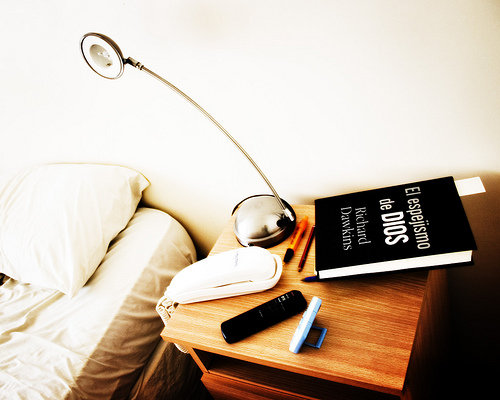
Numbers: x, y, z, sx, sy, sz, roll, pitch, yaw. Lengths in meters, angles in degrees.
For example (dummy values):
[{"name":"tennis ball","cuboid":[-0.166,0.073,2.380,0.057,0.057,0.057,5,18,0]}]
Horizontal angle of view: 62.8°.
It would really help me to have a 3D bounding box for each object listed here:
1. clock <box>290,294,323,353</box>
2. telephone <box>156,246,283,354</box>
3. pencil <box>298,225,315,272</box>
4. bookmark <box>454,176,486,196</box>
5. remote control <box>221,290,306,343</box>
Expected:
[{"name":"clock","cuboid":[0.128,0.266,0.895,0.063,0.116,0.095,-1,-3,19]},{"name":"telephone","cuboid":[-0.060,0.250,1.042,0.332,0.183,0.095,-20,-60,11]},{"name":"pencil","cuboid":[0.144,0.126,1.038,0.011,0.137,0.010,42,-36,-20]},{"name":"bookmark","cuboid":[0.485,-0.032,0.906,0.053,0.041,0.052,-1,-4,26]},{"name":"remote control","cuboid":[0.042,0.286,0.963,0.241,0.081,0.042,-22,-48,0]}]
